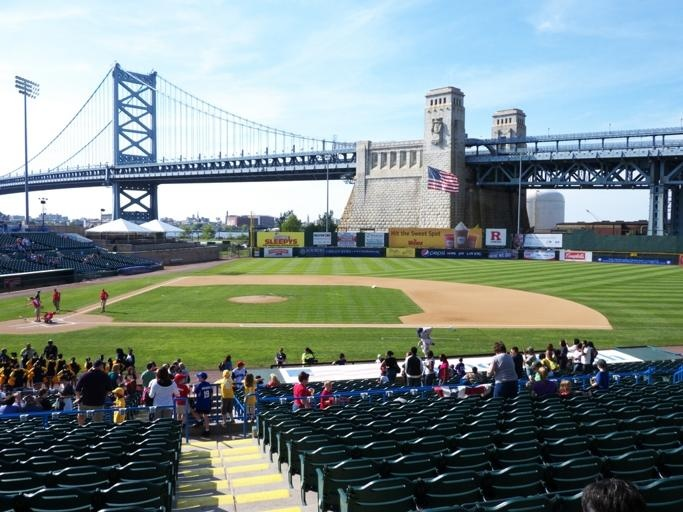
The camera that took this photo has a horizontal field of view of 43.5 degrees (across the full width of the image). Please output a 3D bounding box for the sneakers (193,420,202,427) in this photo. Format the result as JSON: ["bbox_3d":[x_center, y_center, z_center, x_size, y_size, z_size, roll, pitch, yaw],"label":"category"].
[{"bbox_3d":[-3.827,4.515,22.855,0.221,0.104,0.425,-12,8,-13],"label":"sneakers"}]

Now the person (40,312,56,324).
[{"bbox_3d":[-13.047,2.798,38.547,0.450,0.500,0.943,-2,0,-35],"label":"person"}]

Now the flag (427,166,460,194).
[{"bbox_3d":[9.570,-7.231,80.979,3.191,2.192,0.299,10,-33,-13],"label":"flag"}]

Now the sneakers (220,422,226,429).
[{"bbox_3d":[-3.121,4.516,22.782,0.163,0.116,0.362,-12,8,-11],"label":"sneakers"}]
